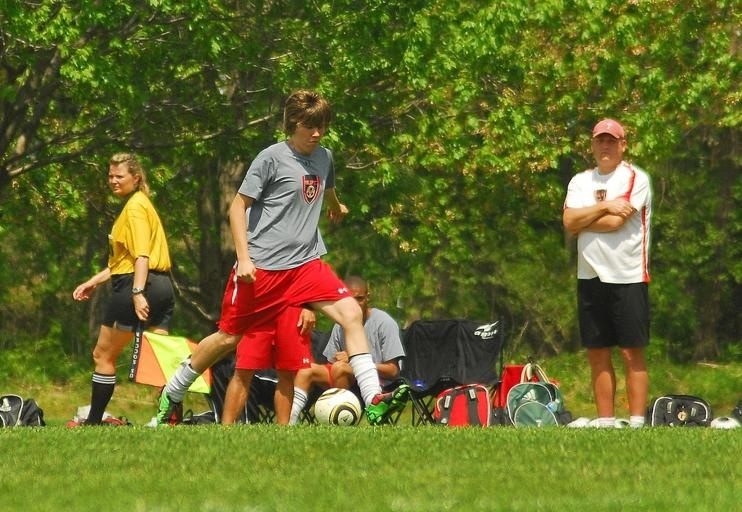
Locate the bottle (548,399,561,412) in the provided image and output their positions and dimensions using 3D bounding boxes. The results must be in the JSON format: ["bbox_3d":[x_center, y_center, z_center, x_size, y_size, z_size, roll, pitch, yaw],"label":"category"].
[{"bbox_3d":[2.346,1.899,19.365,0.088,0.136,0.251,12,19,42],"label":"bottle"}]

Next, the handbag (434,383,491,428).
[{"bbox_3d":[1.231,1.834,19.433,0.750,0.475,0.727,-3,21,10],"label":"handbag"}]

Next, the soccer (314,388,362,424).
[{"bbox_3d":[-0.420,1.873,18.773,0.444,0.447,0.440,32,4,0],"label":"soccer"}]

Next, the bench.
[{"bbox_3d":[0.309,1.474,20.695,2.890,1.411,1.251,5,-1,3],"label":"bench"}]

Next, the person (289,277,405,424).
[{"bbox_3d":[-0.357,1.259,19.365,1.126,1.745,1.290,-25,-45,37],"label":"person"}]
